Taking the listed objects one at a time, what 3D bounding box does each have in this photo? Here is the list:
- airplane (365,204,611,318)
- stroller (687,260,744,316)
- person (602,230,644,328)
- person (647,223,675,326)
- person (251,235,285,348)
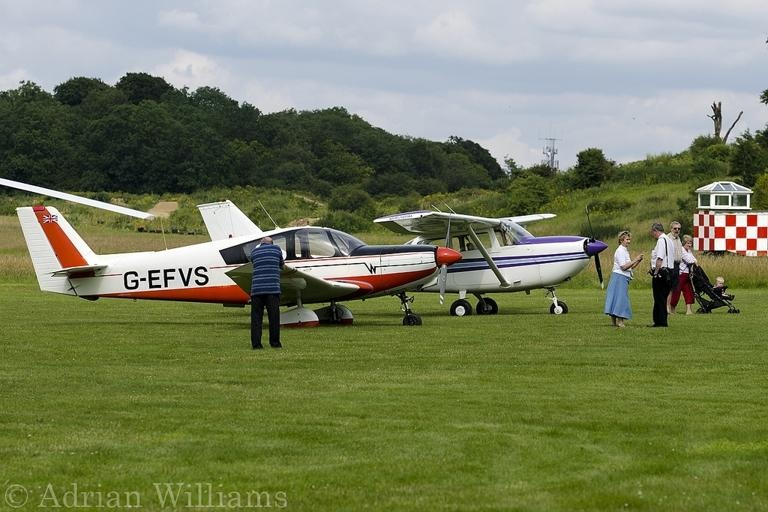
[{"bbox_3d":[2.298,0.033,22.917,2.985,1.074,3.066,-1,3,28],"label":"airplane"},{"bbox_3d":[6.419,0.673,22.655,1.155,1.158,0.921,-1,2,9],"label":"stroller"},{"bbox_3d":[4.120,0.448,19.861,0.560,1.768,1.159,2,13,11],"label":"person"},{"bbox_3d":[4.803,0.373,19.958,0.387,1.805,0.945,2,14,12],"label":"person"},{"bbox_3d":[-1.856,0.626,18.414,0.547,1.733,0.766,-2,13,-6],"label":"person"}]
